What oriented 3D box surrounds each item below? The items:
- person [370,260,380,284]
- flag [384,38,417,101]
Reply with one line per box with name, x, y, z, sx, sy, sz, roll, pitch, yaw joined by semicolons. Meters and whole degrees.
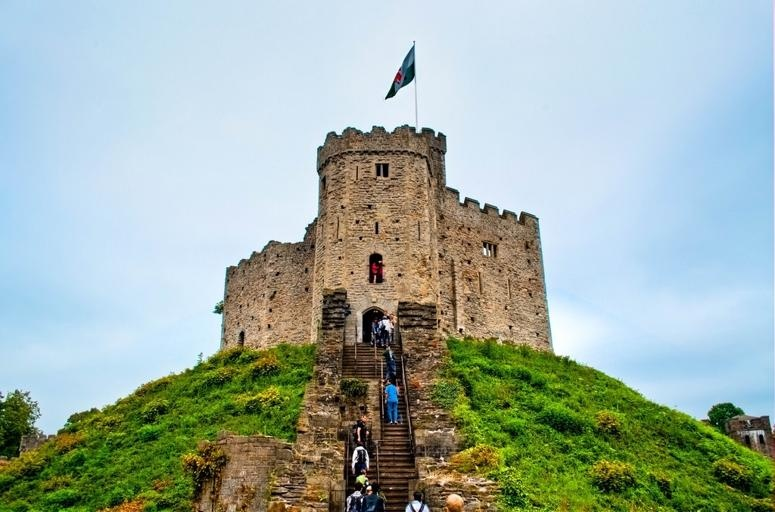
person;-0.737;0.863;32.218;0.650;1.474;0.345;-3;-40;1
flag;1.003;-11.805;34.528;1.459;0.217;5.152;-10;-21;-18
